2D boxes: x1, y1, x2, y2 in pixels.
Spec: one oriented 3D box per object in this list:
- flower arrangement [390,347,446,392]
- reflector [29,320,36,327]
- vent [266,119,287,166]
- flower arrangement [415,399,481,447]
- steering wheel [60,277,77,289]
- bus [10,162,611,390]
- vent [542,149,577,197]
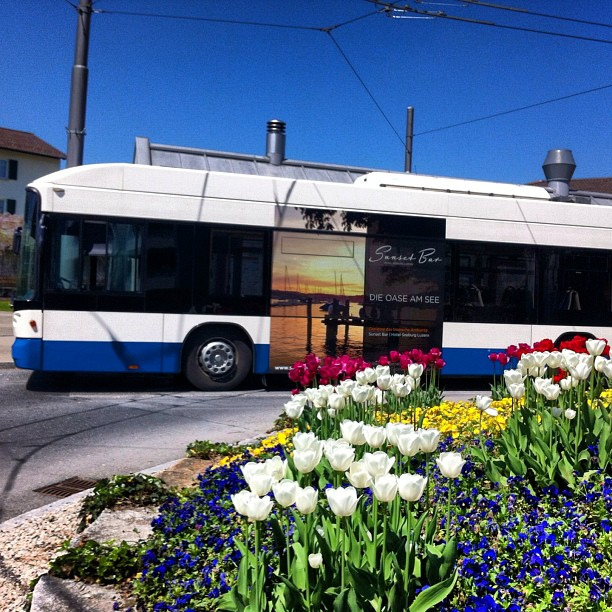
[{"bbox_3d":[0.972,0.562,5.838,0.397,0.369,0.336,-14,-10,29],"label":"flower arrangement"},{"bbox_3d":[-3.960,0.266,10.175,0.082,0.080,0.084,7,23,19],"label":"reflector"},{"bbox_3d":[-0.737,-4.490,19.153,0.639,1.161,0.651,5,2,-6],"label":"vent"},{"bbox_3d":[1.279,1.003,6.065,0.489,0.291,0.525,0,1,-5],"label":"flower arrangement"},{"bbox_3d":[-3.520,-0.345,10.411,0.222,0.142,0.019,-5,-1,-19],"label":"steering wheel"},{"bbox_3d":[1.243,-0.707,14.091,13.855,4.747,4.213,2,0,-16],"label":"bus"},{"bbox_3d":[7.703,-3.891,21.198,0.963,1.463,0.961,3,-10,-36],"label":"vent"}]
